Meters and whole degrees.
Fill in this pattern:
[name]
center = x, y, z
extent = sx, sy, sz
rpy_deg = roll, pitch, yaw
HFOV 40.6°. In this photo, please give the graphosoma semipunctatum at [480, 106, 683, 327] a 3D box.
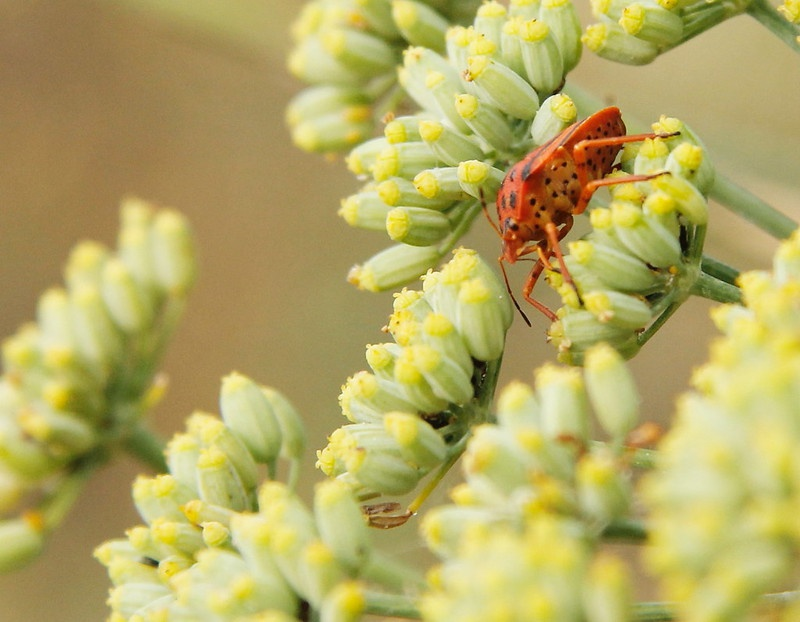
[graphosoma semipunctatum]
center = 0.279, -0.219, 1.951
extent = 0.176, 0.309, 0.406
rpy_deg = 37, -92, -1
